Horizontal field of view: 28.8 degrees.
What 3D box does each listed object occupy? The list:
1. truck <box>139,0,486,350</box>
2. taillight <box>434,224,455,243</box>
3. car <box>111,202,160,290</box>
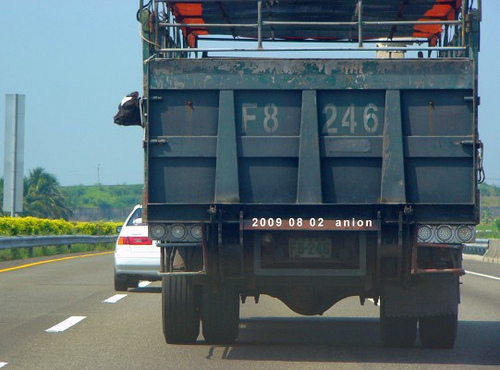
[{"bbox_3d":[0.945,-0.332,17.473,4.521,5.078,6.417,0,0,1],"label":"truck"},{"bbox_3d":[2.827,0.729,14.256,0.240,0.276,0.065,2,0,4],"label":"taillight"},{"bbox_3d":[-2.497,1.547,20.594,1.127,1.271,2.601,0,3,-4],"label":"car"}]
